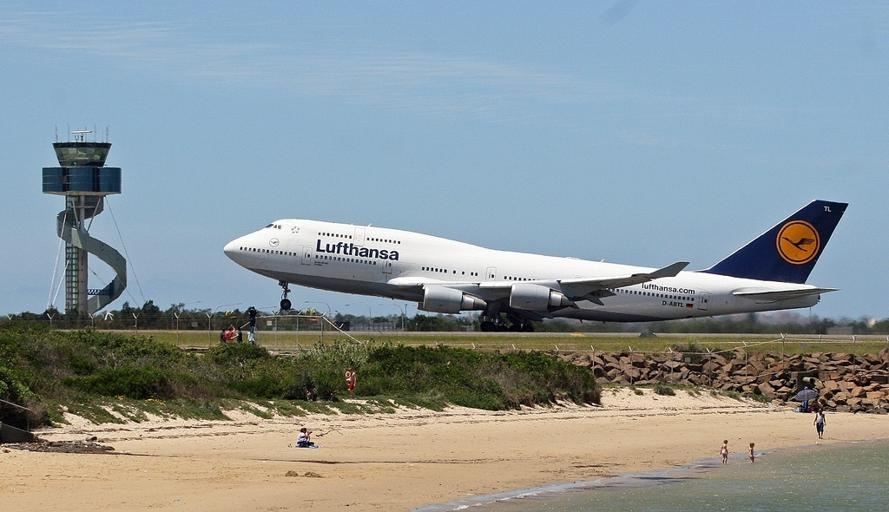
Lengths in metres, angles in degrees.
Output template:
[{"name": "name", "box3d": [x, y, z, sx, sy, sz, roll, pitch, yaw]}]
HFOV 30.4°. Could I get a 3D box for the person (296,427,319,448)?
[{"name": "person", "box3d": [-5.763, 7.547, 66.822, 1.063, 0.949, 0.722, -4, -2, -12]}]
